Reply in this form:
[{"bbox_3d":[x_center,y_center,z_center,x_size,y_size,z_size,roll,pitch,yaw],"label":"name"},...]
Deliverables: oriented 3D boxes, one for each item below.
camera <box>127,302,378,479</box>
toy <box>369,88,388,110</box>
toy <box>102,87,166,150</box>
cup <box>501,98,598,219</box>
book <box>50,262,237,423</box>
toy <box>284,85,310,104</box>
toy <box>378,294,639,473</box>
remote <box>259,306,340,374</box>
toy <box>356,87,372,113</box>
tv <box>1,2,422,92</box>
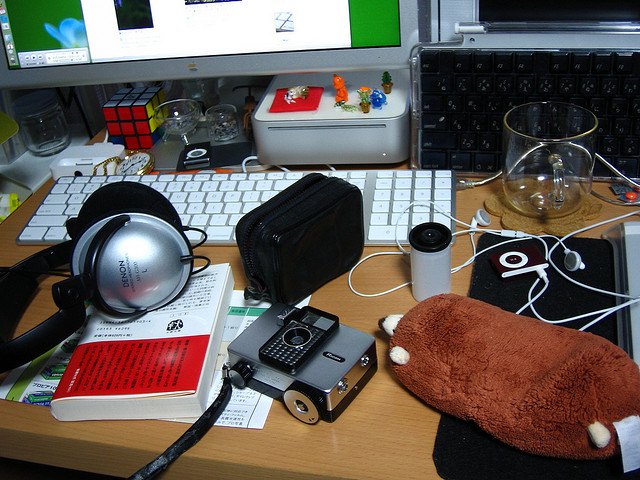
[{"bbox_3d":[-0.044,0.134,0.472,0.145,0.060,0.222,25,48,34],"label":"camera"},{"bbox_3d":[0.094,-0.228,0.781,0.031,0.036,0.016,-12,9,-33],"label":"toy"},{"bbox_3d":[-0.337,-0.235,0.972,0.137,0.119,0.122,2,38,-2],"label":"toy"},{"bbox_3d":[0.329,-0.095,0.674,0.125,0.124,0.179,-4,20,17],"label":"cup"},{"bbox_3d":[-0.197,0.112,0.559,0.168,0.068,0.199,-1,33,5],"label":"book"},{"bbox_3d":[-0.035,-0.248,0.832,0.043,0.017,0.038,-10,45,8],"label":"toy"},{"bbox_3d":[0.182,0.126,0.449,0.230,0.085,0.105,14,38,26],"label":"toy"},{"bbox_3d":[-0.021,0.105,0.499,0.047,0.012,0.080,17,41,34],"label":"remote"},{"bbox_3d":[0.075,-0.233,0.786,0.022,0.030,0.055,-1,33,5],"label":"toy"},{"bbox_3d":[-0.214,-0.333,0.797,0.756,0.142,0.037,2,37,8],"label":"tv"}]
